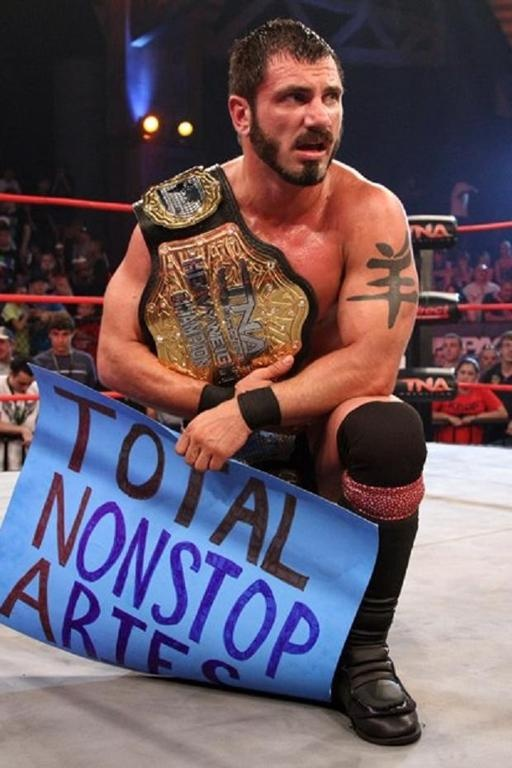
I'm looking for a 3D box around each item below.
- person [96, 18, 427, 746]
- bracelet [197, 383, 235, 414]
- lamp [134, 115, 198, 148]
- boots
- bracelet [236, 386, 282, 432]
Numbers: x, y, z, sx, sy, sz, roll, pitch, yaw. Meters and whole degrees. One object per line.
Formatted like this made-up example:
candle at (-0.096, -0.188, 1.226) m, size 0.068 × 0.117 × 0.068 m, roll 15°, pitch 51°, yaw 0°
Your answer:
person at (0.038, 0.019, 1.041) m, size 0.317 × 0.715 × 0.554 m, roll -3°, pitch 5°, yaw -44°
bracelet at (-0.057, 0.017, 1.037) m, size 0.037 × 0.031 × 0.045 m, roll 0°, pitch 5°, yaw 8°
lamp at (-0.798, -2.295, 6.948) m, size 0.463 × 0.212 × 0.163 m, roll -2°, pitch 16°, yaw -18°
boots at (0.138, 0.321, 0.870) m, size 0.092 × 0.130 × 0.131 m, roll 0°, pitch 3°, yaw -1°
bracelet at (0.014, 0.033, 0.999) m, size 0.046 × 0.046 × 0.060 m, roll -14°, pitch -14°, yaw 16°
